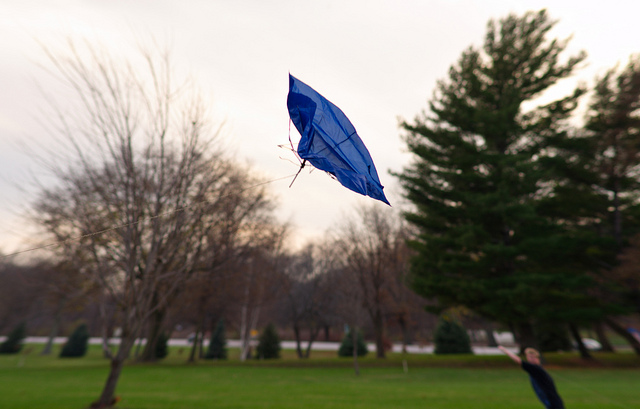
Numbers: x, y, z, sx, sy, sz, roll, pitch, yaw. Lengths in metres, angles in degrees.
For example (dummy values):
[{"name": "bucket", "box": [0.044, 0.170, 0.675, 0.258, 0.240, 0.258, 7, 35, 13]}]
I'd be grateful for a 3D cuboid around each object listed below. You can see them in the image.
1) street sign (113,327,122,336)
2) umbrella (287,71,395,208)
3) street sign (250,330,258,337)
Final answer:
[{"name": "street sign", "box": [-9.474, 5.995, 23.438, 0.329, 0.461, 0.116, -4, -2, -17]}, {"name": "umbrella", "box": [0.176, -1.934, 20.409, 5.430, 1.991, 4.065, 46, -21, -15]}, {"name": "street sign", "box": [-5.397, 10.493, 40.666, 0.632, 0.156, 0.653, 9, -56, 3]}]
